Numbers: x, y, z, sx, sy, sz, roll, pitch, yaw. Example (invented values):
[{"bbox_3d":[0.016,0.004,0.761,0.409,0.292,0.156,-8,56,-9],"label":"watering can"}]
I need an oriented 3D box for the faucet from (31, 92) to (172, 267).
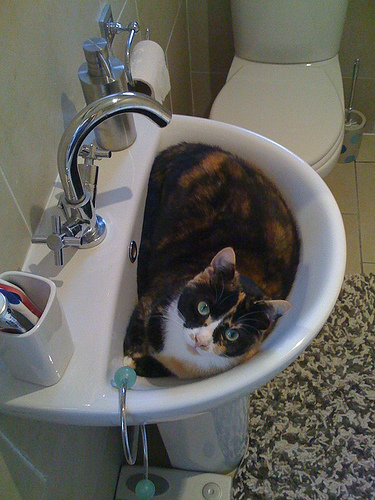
[{"bbox_3d":[-0.113,-0.083,0.509,0.106,0.171,0.179,8,58,1],"label":"faucet"}]

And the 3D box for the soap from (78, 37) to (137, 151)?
[{"bbox_3d":[-0.112,-0.213,0.556,0.052,0.139,0.058,9,53,12],"label":"soap"}]

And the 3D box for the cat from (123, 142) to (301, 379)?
[{"bbox_3d":[0.054,0.003,0.583,0.219,0.210,0.394,16,53,-9],"label":"cat"}]
